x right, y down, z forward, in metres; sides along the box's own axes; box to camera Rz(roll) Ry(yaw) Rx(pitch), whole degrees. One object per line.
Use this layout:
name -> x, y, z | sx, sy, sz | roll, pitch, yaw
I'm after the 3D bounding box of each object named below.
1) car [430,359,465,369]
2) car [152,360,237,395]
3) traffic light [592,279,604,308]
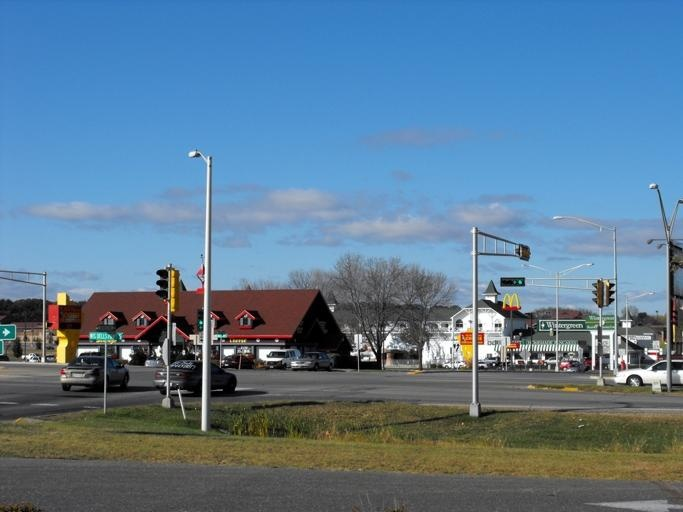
car -> 11.158, 11.677, 131.534 | 3.187, 0.892, 2.246 | -1, -5, 1
car -> -7.042, 5.991, 60.202 | 1.891, 1.308, 4.177 | -2, -3, 36
traffic light -> 13.637, 2.112, 66.524 | 0.571, 1.469, 1.405 | -2, -7, 13
